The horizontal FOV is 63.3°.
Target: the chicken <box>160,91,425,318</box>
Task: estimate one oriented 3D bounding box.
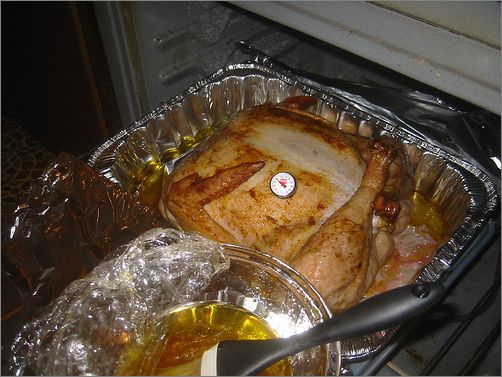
[{"bbox_3d":[0.184,-0.031,1.522,0.800,0.325,0.823,20,60,21],"label":"chicken"}]
